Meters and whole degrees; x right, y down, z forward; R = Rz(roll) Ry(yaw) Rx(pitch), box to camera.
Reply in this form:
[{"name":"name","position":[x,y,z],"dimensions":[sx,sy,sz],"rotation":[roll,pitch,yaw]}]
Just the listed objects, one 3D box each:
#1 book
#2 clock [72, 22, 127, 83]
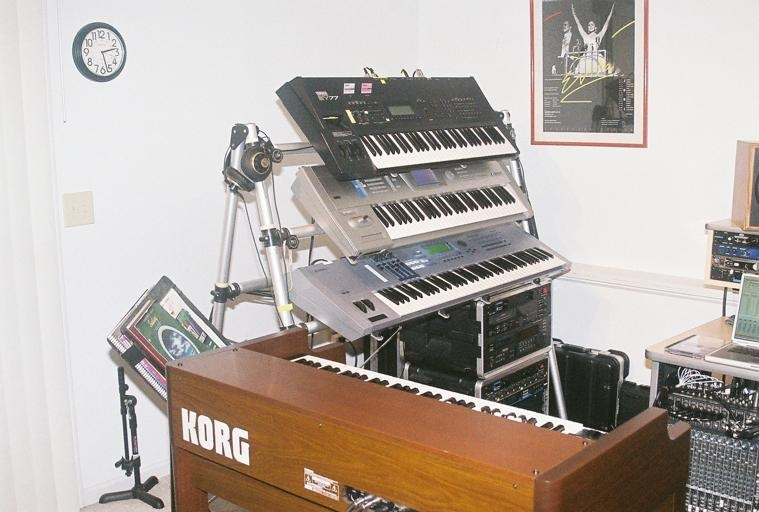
[{"name":"book","position":[-0.991,0.372,3.117],"dimensions":[0.574,0.584,0.178],"rotation":[-47,3,2]},{"name":"clock","position":[-1.462,-1.080,3.372],"dimensions":[0.314,0.293,0.039],"rotation":[6,13,14]}]
